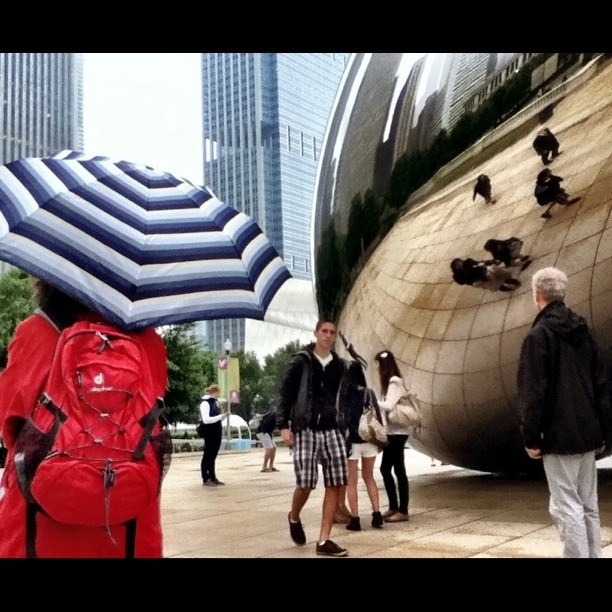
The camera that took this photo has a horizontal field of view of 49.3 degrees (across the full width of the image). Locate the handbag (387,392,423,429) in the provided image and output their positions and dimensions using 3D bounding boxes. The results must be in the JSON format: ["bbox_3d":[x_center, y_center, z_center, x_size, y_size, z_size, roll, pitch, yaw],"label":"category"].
[{"bbox_3d":[0.681,0.713,4.596,0.268,0.279,0.154,-6,-10,30],"label":"handbag"}]

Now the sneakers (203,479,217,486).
[{"bbox_3d":[-1.017,1.850,7.015,0.199,0.081,0.070,-7,-11,43],"label":"sneakers"}]

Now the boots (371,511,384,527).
[{"bbox_3d":[0.516,1.553,4.818,0.049,0.062,0.145,0,-4,0],"label":"boots"}]

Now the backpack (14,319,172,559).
[{"bbox_3d":[-0.785,0.501,2.464,0.543,0.911,0.468,2,-12,-18],"label":"backpack"}]

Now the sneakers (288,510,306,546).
[{"bbox_3d":[-0.075,1.604,4.786,0.087,0.250,0.100,-12,-2,-29],"label":"sneakers"}]

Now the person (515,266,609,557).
[{"bbox_3d":[1.449,0.580,3.737,0.596,1.620,0.289,5,-13,-31],"label":"person"}]

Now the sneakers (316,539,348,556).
[{"bbox_3d":[0.161,1.623,4.495,0.226,0.097,0.085,-2,-4,19],"label":"sneakers"}]

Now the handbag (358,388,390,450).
[{"bbox_3d":[0.504,0.826,4.974,0.223,0.449,0.436,-7,-20,7],"label":"handbag"}]

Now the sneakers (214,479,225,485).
[{"bbox_3d":[-0.917,1.849,6.979,0.128,0.080,0.047,2,7,10],"label":"sneakers"}]

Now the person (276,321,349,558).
[{"bbox_3d":[0.051,0.923,4.797,0.512,1.614,0.467,-2,-12,2],"label":"person"}]

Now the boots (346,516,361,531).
[{"bbox_3d":[0.367,1.657,5.091,0.060,0.103,0.152,1,2,-19],"label":"boots"}]
